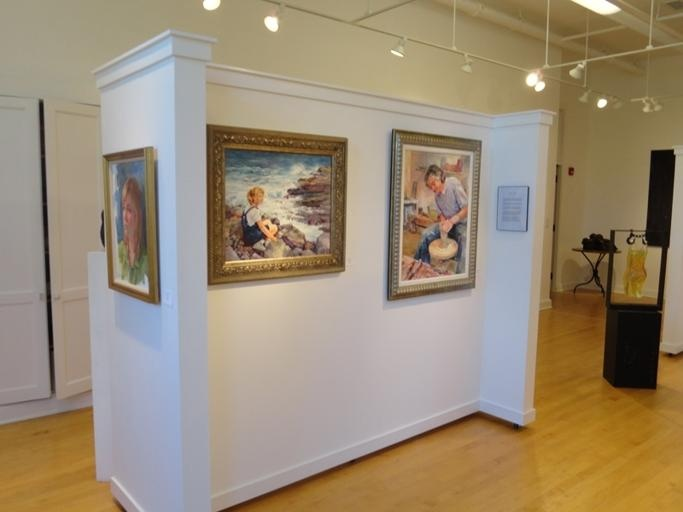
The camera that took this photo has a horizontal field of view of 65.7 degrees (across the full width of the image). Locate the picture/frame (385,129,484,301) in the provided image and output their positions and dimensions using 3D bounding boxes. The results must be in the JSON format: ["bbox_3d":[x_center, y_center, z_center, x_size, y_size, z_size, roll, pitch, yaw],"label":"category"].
[{"bbox_3d":[0.938,-0.450,5.500,1.267,1.659,0.213,-8,15,-32],"label":"picture/frame"}]

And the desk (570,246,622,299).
[{"bbox_3d":[5.650,0.351,11.820,1.051,1.234,1.095,0,1,-26],"label":"desk"}]
